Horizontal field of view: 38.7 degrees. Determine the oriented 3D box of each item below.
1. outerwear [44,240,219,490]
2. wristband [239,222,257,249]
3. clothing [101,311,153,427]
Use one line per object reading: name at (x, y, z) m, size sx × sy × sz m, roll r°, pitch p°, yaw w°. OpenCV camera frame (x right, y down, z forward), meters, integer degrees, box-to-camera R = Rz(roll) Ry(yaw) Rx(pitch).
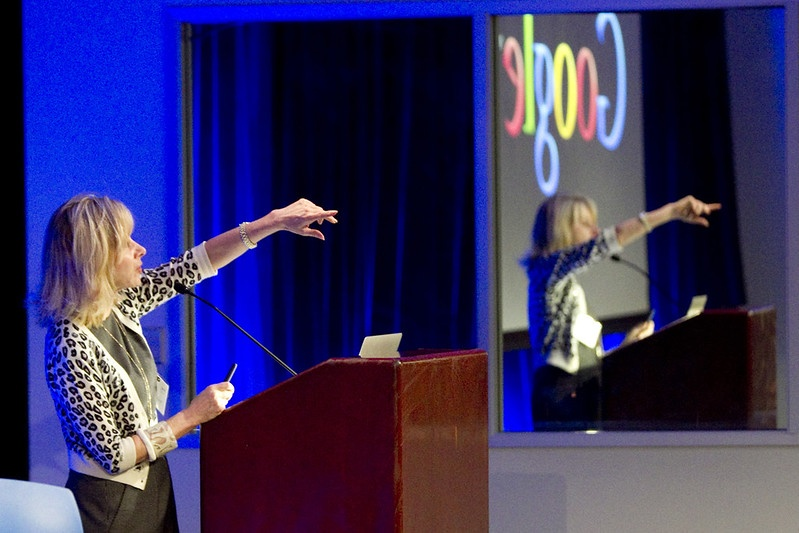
outerwear at (-1.144, 0.356, 5.002) m, size 0.706 × 1.141 × 0.785 m, roll -3°, pitch 8°, yaw -14°
wristband at (-0.664, -0.121, 4.950) m, size 0.031 × 0.100 × 0.102 m, roll -13°, pitch -15°, yaw 2°
clothing at (-1.119, 0.400, 4.658) m, size 0.119 × 0.370 × 0.346 m, roll -19°, pitch 7°, yaw 12°
